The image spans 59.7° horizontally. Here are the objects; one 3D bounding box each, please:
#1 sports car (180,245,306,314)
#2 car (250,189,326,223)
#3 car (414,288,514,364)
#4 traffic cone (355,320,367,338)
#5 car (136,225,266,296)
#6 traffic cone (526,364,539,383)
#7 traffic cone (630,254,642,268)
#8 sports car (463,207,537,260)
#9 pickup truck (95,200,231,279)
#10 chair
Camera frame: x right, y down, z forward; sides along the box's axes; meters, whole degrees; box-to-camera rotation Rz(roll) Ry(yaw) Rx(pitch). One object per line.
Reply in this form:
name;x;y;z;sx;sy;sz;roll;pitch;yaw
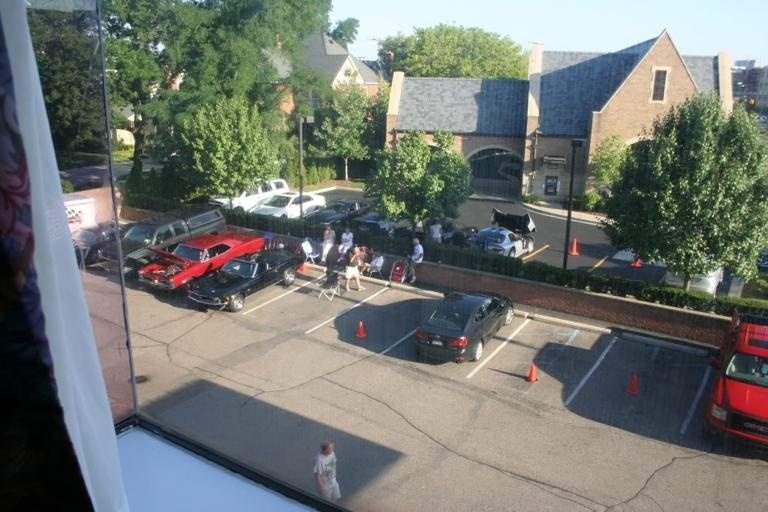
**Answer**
sports car;-4.371;0.625;21.235;1.549;1.177;3.257;16;27;33
car;-4.033;-2.288;29.462;1.371;1.005;3.089;11;15;36
car;2.210;1.978;18.402;1.393;1.556;2.955;16;21;36
traffic cone;-0.715;2.186;19.401;0.338;0.600;0.367;11;32;17
car;-6.109;0.118;21.980;1.781;1.913;4.704;1;1;24
traffic cone;3.833;3.033;17.359;0.351;0.556;0.385;-2;20;0
traffic cone;8.766;0.191;23.295;0.307;0.389;0.330;1;35;35
sports car;4.556;-0.581;25.476;1.527;1.416;2.658;15;29;33
pickup truck;-7.985;-0.787;24.070;2.354;1.763;4.544;10;23;28
chair;-1.450;0.617;22.191;1.559;2.377;1.565;-6;-4;33
